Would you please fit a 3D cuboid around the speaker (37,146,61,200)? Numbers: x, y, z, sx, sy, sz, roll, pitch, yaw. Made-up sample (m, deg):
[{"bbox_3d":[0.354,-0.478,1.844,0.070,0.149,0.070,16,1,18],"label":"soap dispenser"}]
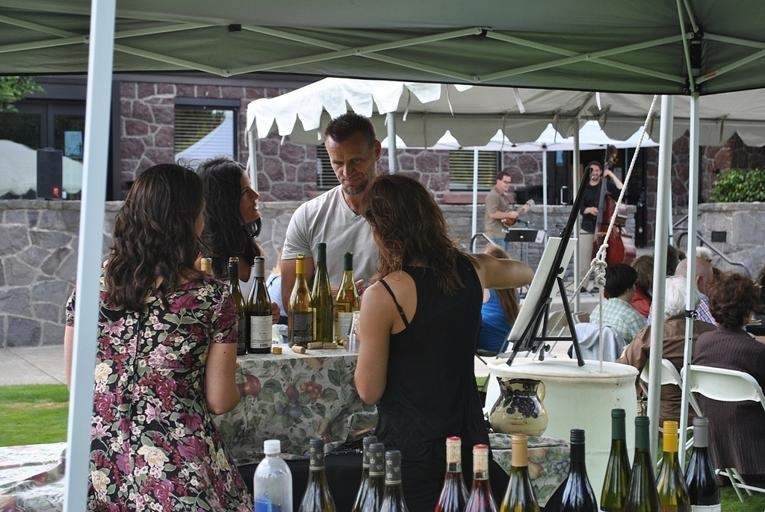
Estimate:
[{"bbox_3d":[-4.188,-1.027,13.964,0.296,0.660,0.459,1,-2,-19],"label":"speaker"}]
